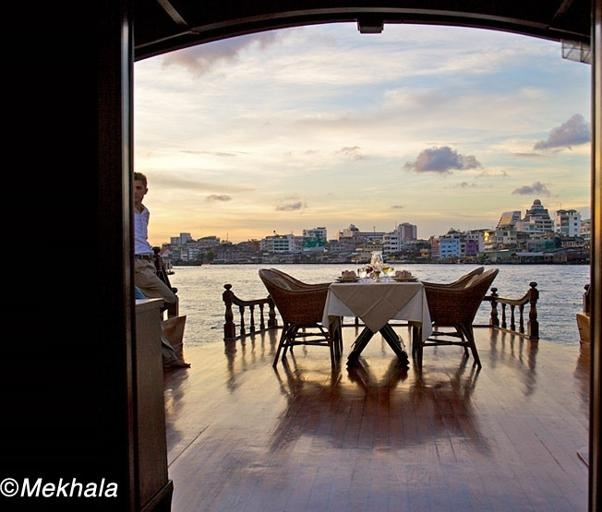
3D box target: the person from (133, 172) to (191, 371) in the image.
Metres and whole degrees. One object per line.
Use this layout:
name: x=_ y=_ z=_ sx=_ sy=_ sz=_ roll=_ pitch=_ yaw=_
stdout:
person: x=-1.084 y=0.149 z=4.449 sx=0.408 sy=1.596 sz=1.195 roll=0 pitch=1 yaw=-11

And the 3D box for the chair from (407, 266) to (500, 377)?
chair: x=1.320 y=0.572 z=4.974 sx=0.751 sy=1.073 sz=0.896 roll=0 pitch=-4 yaw=6

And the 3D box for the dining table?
dining table: x=0.667 y=0.545 z=4.685 sx=0.677 sy=0.562 sz=0.730 roll=0 pitch=-3 yaw=6

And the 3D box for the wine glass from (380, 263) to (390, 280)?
wine glass: x=0.786 y=0.136 z=5.114 sx=0.099 sy=0.168 sz=0.101 roll=-1 pitch=0 yaw=17

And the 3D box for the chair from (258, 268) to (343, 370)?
chair: x=0.016 y=0.494 z=5.111 sx=0.738 sy=1.056 sz=0.922 roll=-2 pitch=-3 yaw=7

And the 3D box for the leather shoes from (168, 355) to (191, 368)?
leather shoes: x=-1.037 y=0.905 z=4.868 sx=0.219 sy=0.151 sz=0.079 roll=1 pitch=3 yaw=-7
